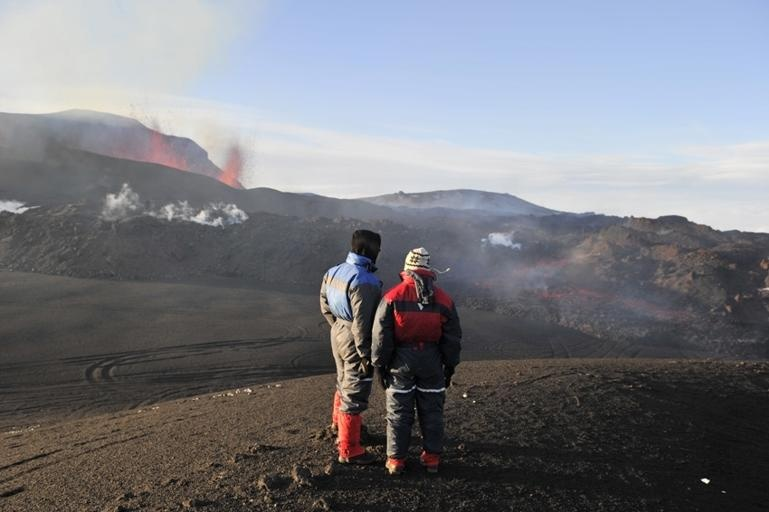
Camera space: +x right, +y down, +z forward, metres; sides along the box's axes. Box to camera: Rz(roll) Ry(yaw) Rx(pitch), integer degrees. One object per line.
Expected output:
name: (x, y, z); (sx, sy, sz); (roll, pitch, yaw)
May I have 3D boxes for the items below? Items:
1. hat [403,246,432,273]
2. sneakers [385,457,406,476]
hat: (0.668, 0.082, 11.959); (0.449, 0.487, 0.541); (1, 2, -8)
sneakers: (0.190, 4.242, 11.603); (0.240, 0.196, 0.451); (2, -1, 4)
